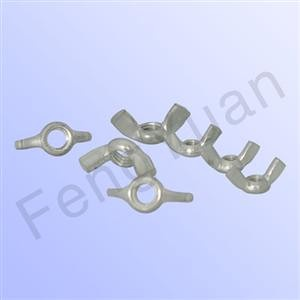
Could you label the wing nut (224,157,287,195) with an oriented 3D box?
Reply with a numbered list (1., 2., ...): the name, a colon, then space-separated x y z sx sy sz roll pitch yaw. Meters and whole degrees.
1. wing nut: 0.680 0.174 3.535 0.279 0.133 0.117 -6 2 -7
